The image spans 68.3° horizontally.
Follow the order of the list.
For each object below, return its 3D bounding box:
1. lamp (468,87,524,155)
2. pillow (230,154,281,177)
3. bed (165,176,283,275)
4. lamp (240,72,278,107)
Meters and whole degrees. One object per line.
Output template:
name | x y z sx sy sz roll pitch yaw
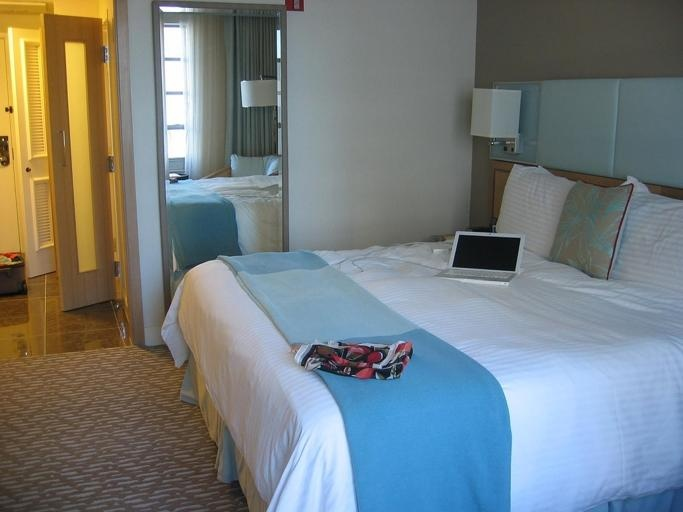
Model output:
lamp | 1.265 -1.115 4.102 0.380 0.502 0.257 3 15 15
pillow | -0.746 -0.777 4.227 0.356 0.319 0.111 -5 12 -18
bed | -0.975 -0.299 4.210 0.773 0.369 0.807 -6 21 -17
lamp | -0.686 -1.374 4.149 0.247 0.175 0.258 8 19 25
